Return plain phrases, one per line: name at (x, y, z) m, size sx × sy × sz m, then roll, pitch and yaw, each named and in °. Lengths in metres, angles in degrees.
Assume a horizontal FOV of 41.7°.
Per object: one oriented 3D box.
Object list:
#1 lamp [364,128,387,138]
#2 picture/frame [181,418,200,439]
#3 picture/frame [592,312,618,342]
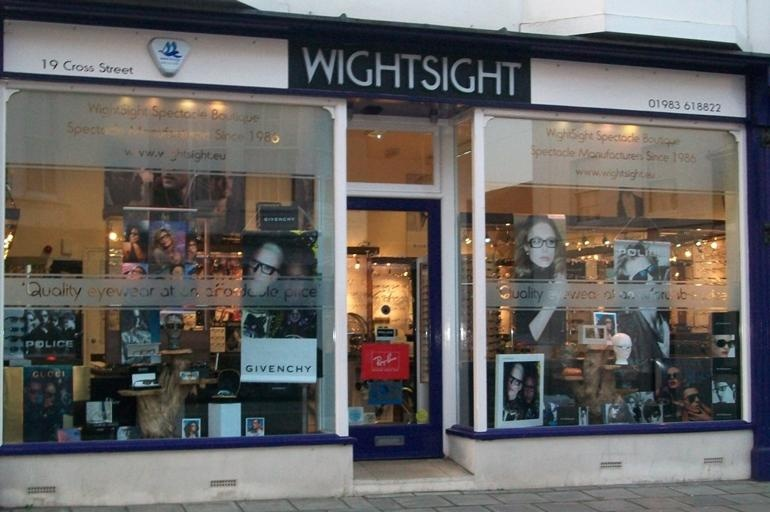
lamp at (-0.133, -1.505, 12.546) m, size 0.230 × 0.105 × 0.026 m, roll -1°, pitch -4°, yaw -22°
picture/frame at (-2.196, 1.969, 11.429) m, size 0.232 × 0.240 × 0.025 m, roll 2°, pitch -15°, yaw -9°
picture/frame at (2.657, 0.885, 12.400) m, size 0.387 × 0.416 × 0.016 m, roll 1°, pitch -4°, yaw -12°
